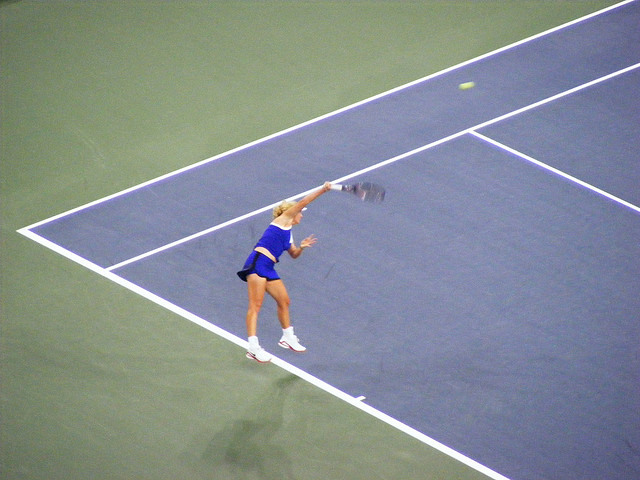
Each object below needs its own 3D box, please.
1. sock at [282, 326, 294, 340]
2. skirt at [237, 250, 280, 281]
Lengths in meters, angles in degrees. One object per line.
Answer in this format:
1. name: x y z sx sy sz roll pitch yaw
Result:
1. sock: -0.365 1.089 9.215 0.117 0.141 0.110 -17 34 1
2. skirt: -0.665 0.358 9.133 0.364 0.505 0.286 -19 55 33
